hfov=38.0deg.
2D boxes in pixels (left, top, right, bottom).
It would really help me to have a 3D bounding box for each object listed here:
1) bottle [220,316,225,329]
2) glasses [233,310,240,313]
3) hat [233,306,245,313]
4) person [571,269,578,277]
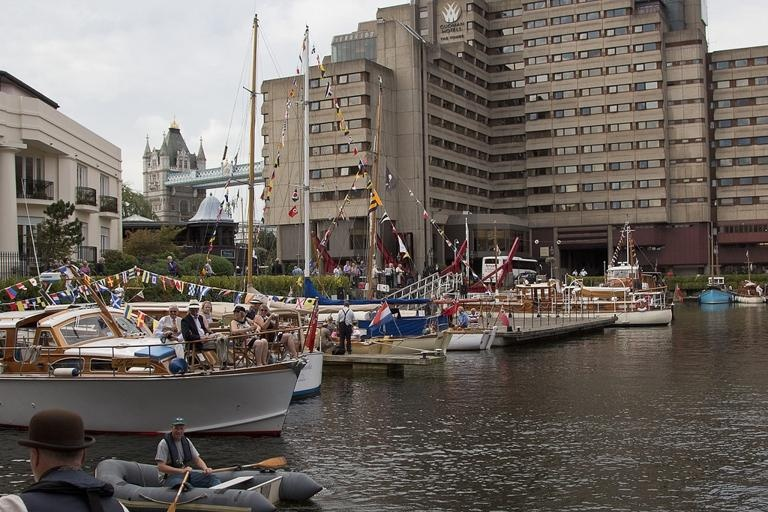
[{"bbox_3d":[-7.247,2.986,50.155,0.383,0.516,0.377,3,6,0],"label":"bottle"},{"bbox_3d":[-5.948,2.212,44.977,0.205,0.098,0.093,-7,-5,40],"label":"glasses"},{"bbox_3d":[-5.819,2.155,45.049,0.313,0.246,0.279,-2,4,-4],"label":"hat"},{"bbox_3d":[20.606,1.822,118.686,0.599,0.720,1.315,-3,-8,19],"label":"person"}]
